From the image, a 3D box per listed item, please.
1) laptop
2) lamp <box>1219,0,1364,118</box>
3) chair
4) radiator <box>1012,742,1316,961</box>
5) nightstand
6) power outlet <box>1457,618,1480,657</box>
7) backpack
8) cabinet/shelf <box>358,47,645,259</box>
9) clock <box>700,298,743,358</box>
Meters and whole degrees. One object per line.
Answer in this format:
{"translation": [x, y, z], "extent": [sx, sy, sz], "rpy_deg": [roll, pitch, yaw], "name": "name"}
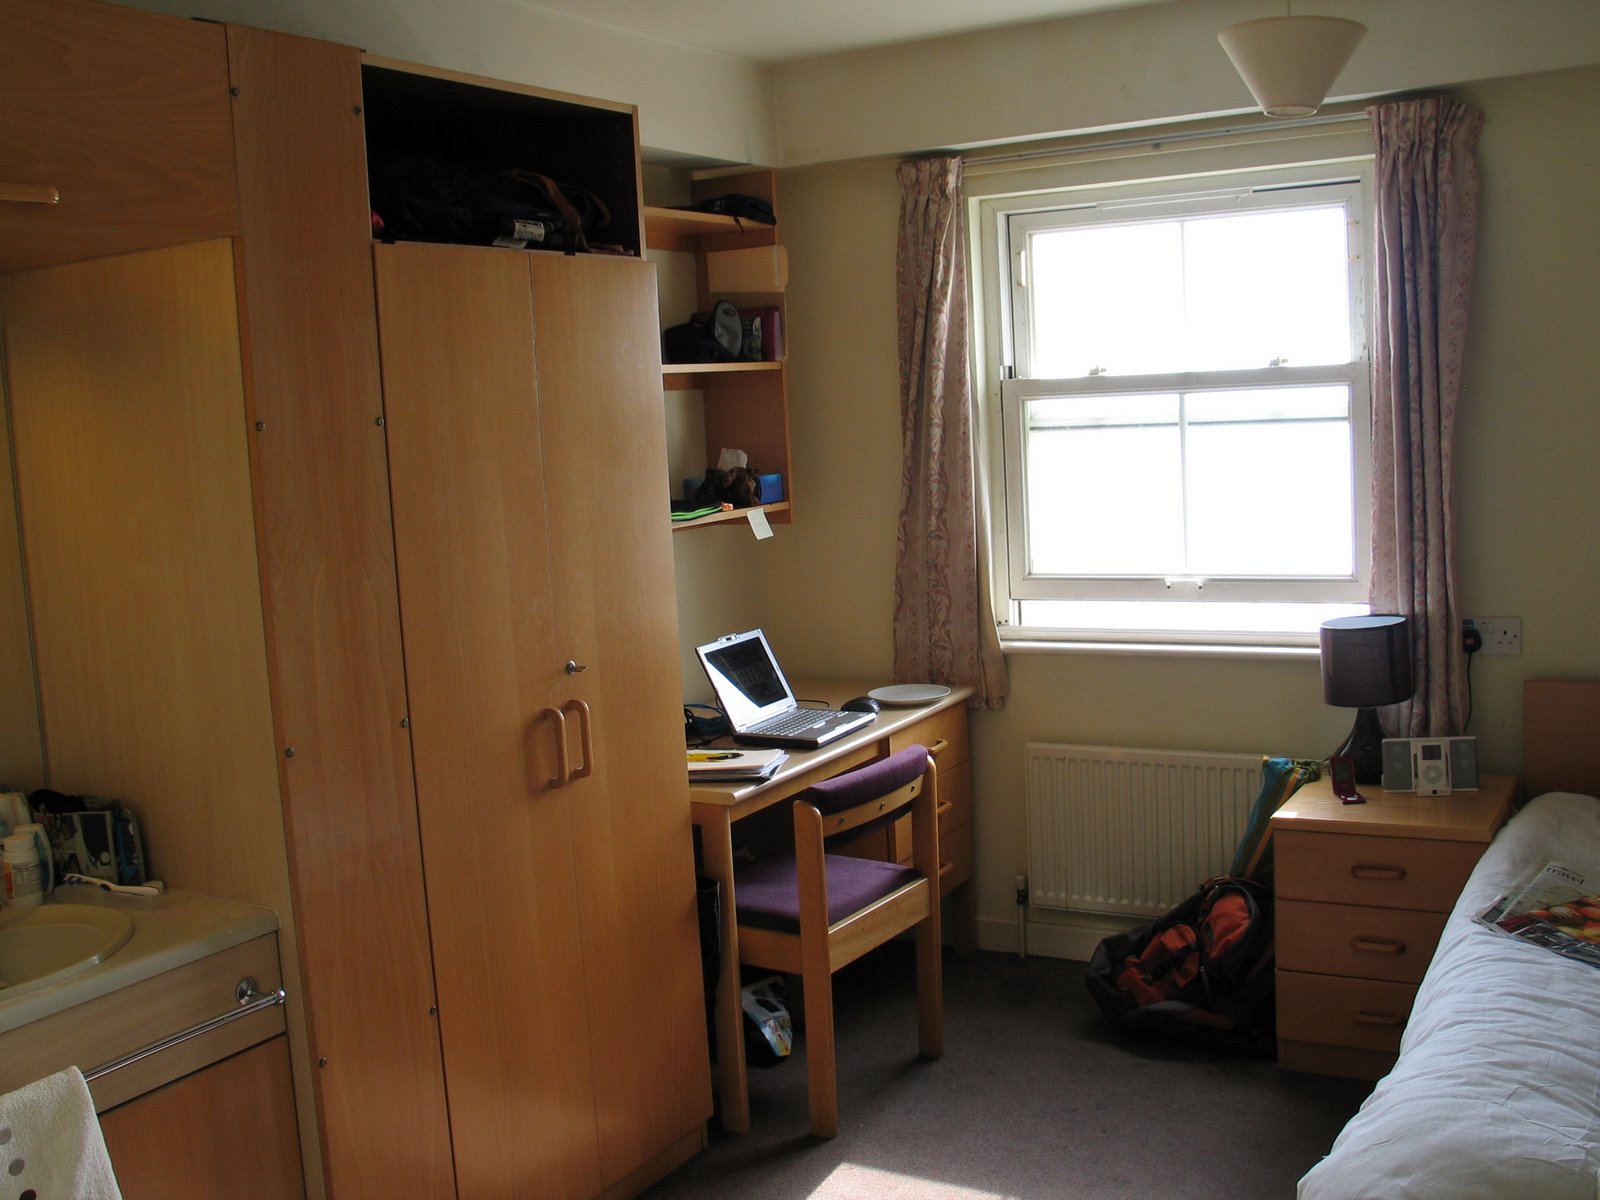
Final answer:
{"translation": [-0.046, 0.258, 4.072], "extent": [0.402, 0.290, 0.453], "rpy_deg": [1, 7, 24], "name": "laptop"}
{"translation": [1.191, -1.304, 3.258], "extent": [0.253, 0.211, 0.243], "rpy_deg": [-12, 14, -34], "name": "lamp"}
{"translation": [0.049, 0.911, 3.875], "extent": [0.565, 0.899, 0.695], "rpy_deg": [-3, 2, 27], "name": "chair"}
{"translation": [1.038, 0.779, 4.481], "extent": [0.055, 0.582, 0.803], "rpy_deg": [9, -8, -30], "name": "radiator"}
{"translation": [1.829, 0.935, 3.955], "extent": [0.624, 1.028, 0.767], "rpy_deg": [0, 2, 29], "name": "nightstand"}
{"translation": [1.984, 0.108, 3.958], "extent": [0.069, 0.103, 0.029], "rpy_deg": [3, -3, 8], "name": "power outlet"}
{"translation": [1.127, 1.049, 3.963], "extent": [0.476, 0.216, 0.401], "rpy_deg": [-4, 36, 27], "name": "backpack"}
{"translation": [-0.744, -1.069, 3.348], "extent": [0.777, 0.417, 0.459], "rpy_deg": [-11, 14, -30], "name": "cabinet/shelf"}
{"translation": [-0.248, -0.877, 4.336], "extent": [0.155, 0.170, 0.163], "rpy_deg": [0, 3, 7], "name": "clock"}
